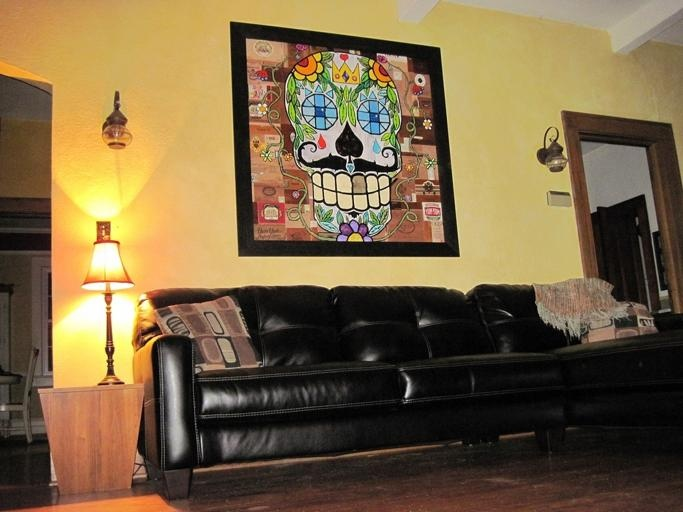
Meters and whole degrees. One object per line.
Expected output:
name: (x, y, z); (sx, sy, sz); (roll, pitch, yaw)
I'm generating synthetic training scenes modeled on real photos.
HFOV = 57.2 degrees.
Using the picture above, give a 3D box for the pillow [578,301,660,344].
pillow: (1.871, 0.451, 4.179); (0.338, 0.228, 0.338); (-6, -16, 16)

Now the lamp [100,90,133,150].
lamp: (-1.535, -0.944, 4.255); (0.195, 0.402, 0.169); (-2, -8, -19)

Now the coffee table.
coffee table: (-1.397, 1.007, 3.597); (0.612, 0.568, 0.361); (0, -5, -19)

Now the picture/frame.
picture/frame: (-0.042, -0.818, 4.679); (1.887, 1.769, 0.107); (2, -13, -19)

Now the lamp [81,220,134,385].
lamp: (-1.470, 0.261, 3.951); (0.318, 1.046, 0.458); (-2, -8, -22)

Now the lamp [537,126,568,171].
lamp: (1.784, -0.906, 5.194); (0.273, 0.410, 0.206); (0, -9, -33)
